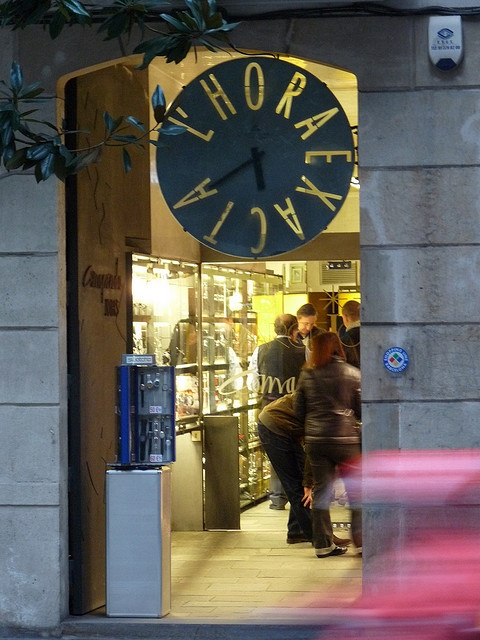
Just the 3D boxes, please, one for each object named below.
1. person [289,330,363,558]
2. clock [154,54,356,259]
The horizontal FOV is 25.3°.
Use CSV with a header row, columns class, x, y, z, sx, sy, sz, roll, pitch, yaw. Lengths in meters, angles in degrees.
class,x,y,z,sx,sy,sz,roll,pitch,yaw
person,0.646,1.048,7.802,0.470,1.439,0.318,-2,-1,2
clock,0.075,-0.951,6.177,1.267,1.212,0.032,3,9,27
